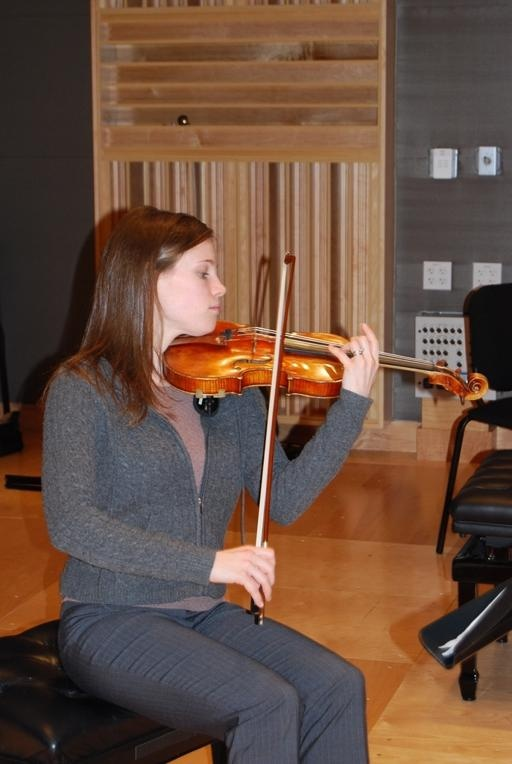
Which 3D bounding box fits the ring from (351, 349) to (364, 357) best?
[{"bbox_3d":[0.173,-0.048,1.218,0.028,0.009,0.015,8,2,-33],"label":"ring"}]
